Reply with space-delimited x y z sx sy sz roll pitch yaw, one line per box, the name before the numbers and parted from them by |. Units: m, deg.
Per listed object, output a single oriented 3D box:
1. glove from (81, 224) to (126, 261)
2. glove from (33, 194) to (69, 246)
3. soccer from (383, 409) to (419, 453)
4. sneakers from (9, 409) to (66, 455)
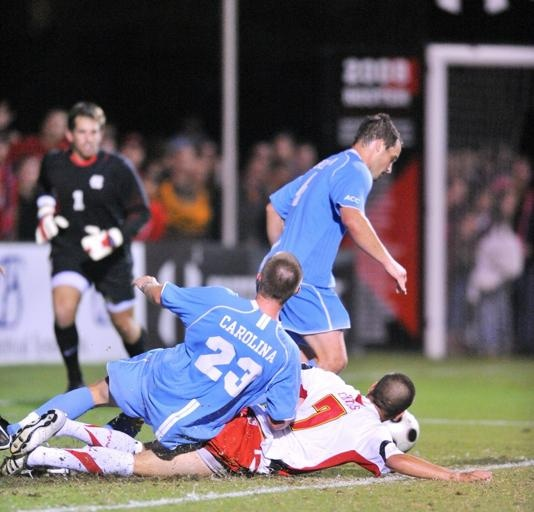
glove | -1.255 -0.054 9.376 0.303 0.114 0.352 -29 -6 -15
glove | -1.656 -0.283 9.463 0.099 0.341 0.321 3 -9 -37
soccer | 0.953 1.210 8.555 0.262 0.328 0.270 -5 -1 -25
sneakers | -1.453 1.124 7.721 0.430 0.172 0.207 -32 -7 -10
